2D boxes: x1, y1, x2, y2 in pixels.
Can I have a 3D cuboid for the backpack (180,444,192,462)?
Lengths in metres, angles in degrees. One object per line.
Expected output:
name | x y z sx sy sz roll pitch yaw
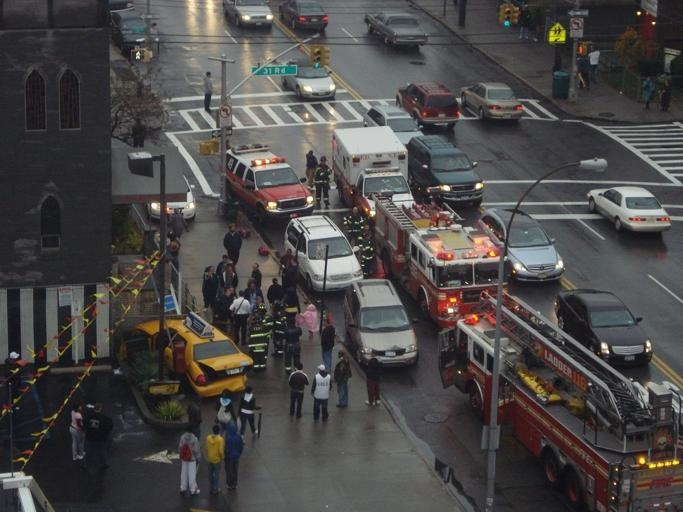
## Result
backpack | -4.407 5.633 40.014 0.362 0.555 0.299 7 38 1

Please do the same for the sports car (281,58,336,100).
sports car | -1.763 -8.884 72.860 3.285 1.844 4.852 -2 21 -16

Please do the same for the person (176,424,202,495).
person | -4.345 5.952 40.406 0.666 1.442 1.309 -2 15 -8

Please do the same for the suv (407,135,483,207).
suv | 4.466 -3.267 59.841 2.830 3.113 2.379 -3 16 -13

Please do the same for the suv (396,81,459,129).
suv | 4.198 -7.478 68.304 1.571 1.372 3.180 -3 28 -18

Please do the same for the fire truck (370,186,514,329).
fire truck | 3.546 -0.154 51.957 2.793 3.155 7.446 -6 21 -19

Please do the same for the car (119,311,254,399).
car | -4.896 2.939 45.397 2.660 1.400 3.609 -17 43 -40

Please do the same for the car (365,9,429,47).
car | 3.123 -12.961 80.006 1.929 1.729 4.005 -14 22 -19

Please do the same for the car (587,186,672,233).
car | 11.841 -2.151 58.280 2.051 1.504 5.039 -1 16 -9

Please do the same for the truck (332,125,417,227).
truck | 1.493 -3.240 58.854 2.179 2.525 4.753 -8 32 -11

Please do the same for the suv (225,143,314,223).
suv | -3.100 -3.182 58.778 2.294 1.966 4.027 -11 29 -26

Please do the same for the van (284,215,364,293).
van | -0.616 -0.125 53.389 2.226 1.807 4.748 -5 21 -16
